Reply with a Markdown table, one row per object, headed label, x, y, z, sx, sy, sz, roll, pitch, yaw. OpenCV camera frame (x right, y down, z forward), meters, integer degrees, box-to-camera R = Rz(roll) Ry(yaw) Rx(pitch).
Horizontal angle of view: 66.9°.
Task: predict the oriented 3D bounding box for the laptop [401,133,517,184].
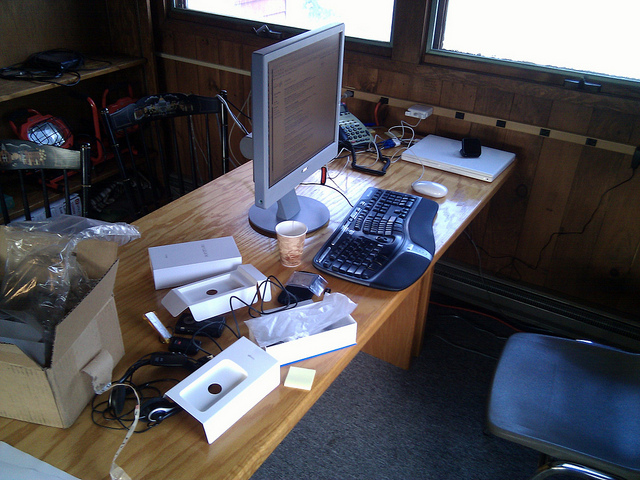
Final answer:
| label | x | y | z | sx | sy | sz | roll | pitch | yaw |
| --- | --- | --- | --- | --- | --- | --- | --- | --- | --- |
| laptop | 0.602 | -0.363 | 2.121 | 0.429 | 0.038 | 0.306 | 20 | 38 | 24 |

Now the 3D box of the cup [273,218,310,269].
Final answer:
| label | x | y | z | sx | sy | sz | roll | pitch | yaw |
| --- | --- | --- | --- | --- | --- | --- | --- | --- | --- |
| cup | -0.084 | -0.001 | 1.566 | 0.129 | 0.137 | 0.135 | -1 | 45 | 1 |

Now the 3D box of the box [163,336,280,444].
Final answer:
| label | x | y | z | sx | sy | sz | roll | pitch | yaw |
| --- | --- | --- | --- | --- | --- | --- | --- | --- | --- |
| box | -0.222 | 0.342 | 1.143 | 0.143 | 0.079 | 0.229 | 29 | 43 | 34 |

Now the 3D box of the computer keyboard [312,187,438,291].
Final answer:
| label | x | y | z | sx | sy | sz | roll | pitch | yaw |
| --- | --- | --- | --- | --- | --- | --- | --- | --- | --- |
| computer keyboard | 0.188 | 0.016 | 1.558 | 0.272 | 0.060 | 0.435 | 19 | 45 | 16 |

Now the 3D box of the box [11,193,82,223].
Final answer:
| label | x | y | z | sx | sy | sz | roll | pitch | yaw |
| --- | --- | --- | --- | --- | --- | --- | --- | --- | --- |
| box | -1.256 | -0.148 | 2.192 | 0.255 | 0.101 | 0.242 | 7 | 20 | 19 |

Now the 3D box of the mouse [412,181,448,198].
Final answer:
| label | x | y | z | sx | sy | sz | roll | pitch | yaw |
| --- | --- | --- | --- | --- | --- | --- | --- | --- | --- |
| mouse | 0.433 | -0.204 | 1.869 | 0.095 | 0.028 | 0.070 | 26 | 40 | 22 |

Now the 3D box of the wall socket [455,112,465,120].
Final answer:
| label | x | y | z | sx | sy | sz | roll | pitch | yaw |
| --- | --- | --- | --- | --- | --- | --- | --- | --- | --- |
| wall socket | 0.642 | -0.568 | 2.226 | 0.044 | 0.038 | 0.024 | 9 | 41 | 15 |
